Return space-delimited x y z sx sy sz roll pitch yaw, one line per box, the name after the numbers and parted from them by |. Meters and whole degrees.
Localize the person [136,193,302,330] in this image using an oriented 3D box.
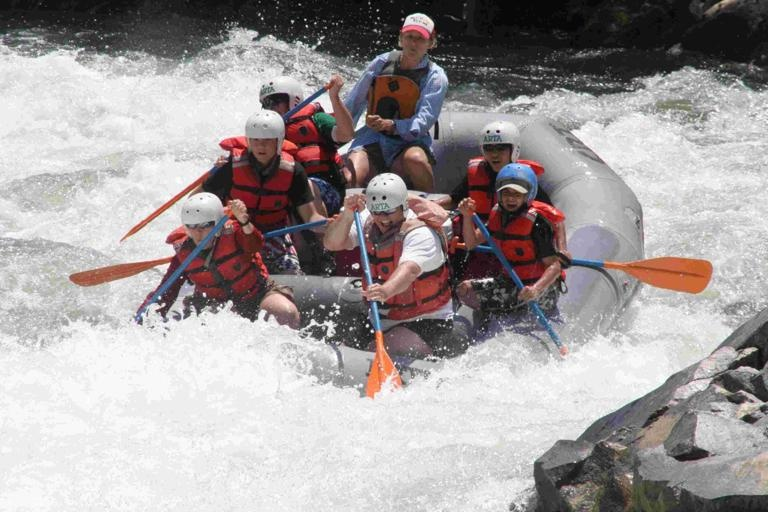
-1.385 0.085 7.685 0.862 0.674 1.024 -23 53 -7 | person

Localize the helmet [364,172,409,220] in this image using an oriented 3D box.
0.009 -0.482 7.172 0.301 0.349 0.261 -2 64 6 | helmet

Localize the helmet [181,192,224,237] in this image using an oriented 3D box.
-1.529 -0.349 7.382 0.319 0.395 0.351 -13 89 14 | helmet

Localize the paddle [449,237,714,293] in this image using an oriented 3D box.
1.765 0.055 8.331 2.544 0.348 0.176 5 58 28 | paddle

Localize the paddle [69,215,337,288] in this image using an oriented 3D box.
-1.601 -0.012 8.048 2.215 0.097 0.217 -17 93 7 | paddle

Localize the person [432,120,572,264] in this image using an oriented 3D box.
1.068 -0.762 8.772 1.117 1.375 1.308 4 93 32 | person

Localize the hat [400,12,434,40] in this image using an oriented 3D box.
0.364 -2.284 8.741 0.290 0.397 0.204 21 84 9 | hat

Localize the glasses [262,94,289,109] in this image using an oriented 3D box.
-1.056 -1.509 8.530 0.200 0.149 0.142 -23 36 3 | glasses

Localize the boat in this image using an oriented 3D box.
0.831 0.388 8.502 3.597 0.972 2.189 -22 53 -24 | boat
